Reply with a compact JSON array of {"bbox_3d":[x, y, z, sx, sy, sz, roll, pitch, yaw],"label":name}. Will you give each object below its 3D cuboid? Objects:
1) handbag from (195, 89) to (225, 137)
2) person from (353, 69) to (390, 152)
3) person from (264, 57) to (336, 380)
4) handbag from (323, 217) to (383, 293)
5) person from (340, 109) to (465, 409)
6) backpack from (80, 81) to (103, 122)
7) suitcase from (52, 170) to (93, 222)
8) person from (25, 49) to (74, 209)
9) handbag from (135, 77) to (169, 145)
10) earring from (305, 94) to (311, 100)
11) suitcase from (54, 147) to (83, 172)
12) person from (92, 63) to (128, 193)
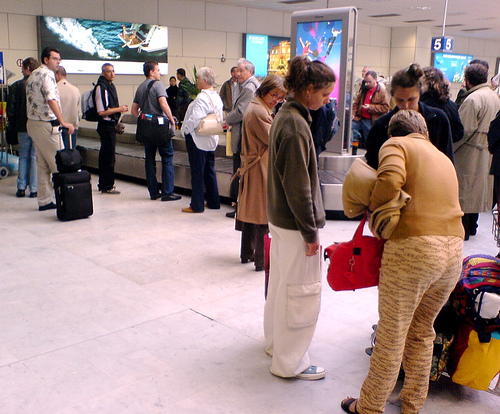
[{"bbox_3d":[-0.511,-1.195,5.334,0.358,0.593,0.366,0,13,-4],"label":"handbag"},{"bbox_3d":[2.358,-1.770,8.400,0.699,1.947,0.627,1,38,13],"label":"person"},{"bbox_3d":[0.256,0.096,2.167,0.364,1.670,0.322,2,13,8],"label":"person"},{"bbox_3d":[0.502,0.185,1.951,0.313,0.380,0.165,-6,26,-11],"label":"handbag"},{"bbox_3d":[0.694,0.330,1.789,0.386,1.226,0.251,4,13,15],"label":"person"},{"bbox_3d":[-2.374,-1.607,6.415,0.353,0.646,0.451,2,8,-35],"label":"backpack"},{"bbox_3d":[-2.164,-0.138,5.149,0.416,0.591,0.261,-6,15,-27],"label":"suitcase"},{"bbox_3d":[-2.649,-1.018,5.524,0.506,2.036,1.307,-6,15,-27],"label":"person"},{"bbox_3d":[-1.315,-1.424,6.142,0.458,0.798,0.831,12,30,10],"label":"handbag"},{"bbox_3d":[0.287,-0.546,2.059,0.024,0.019,0.025,0,2,4],"label":"earring"},{"bbox_3d":[-2.229,-0.578,5.161,0.300,0.271,0.287,-6,15,-26],"label":"suitcase"},{"bbox_3d":[-2.083,-1.140,6.280,0.465,1.934,0.590,-4,14,-20],"label":"person"}]
